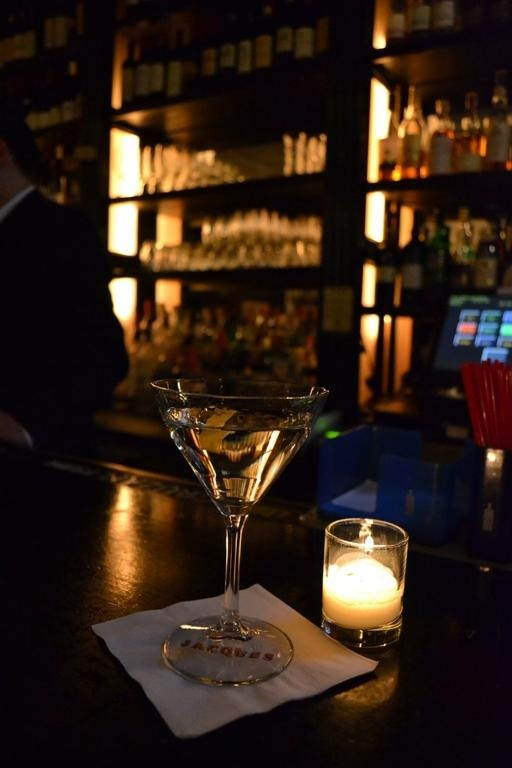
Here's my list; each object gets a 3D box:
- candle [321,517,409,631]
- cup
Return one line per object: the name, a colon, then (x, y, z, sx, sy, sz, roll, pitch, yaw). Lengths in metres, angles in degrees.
candle: (0.100, 0.183, 0.662, 0.078, 0.088, 0.079, 3, 7, 17)
cup: (0.106, 0.191, 0.682, 0.089, 0.108, 0.098, 1, 4, 0)
